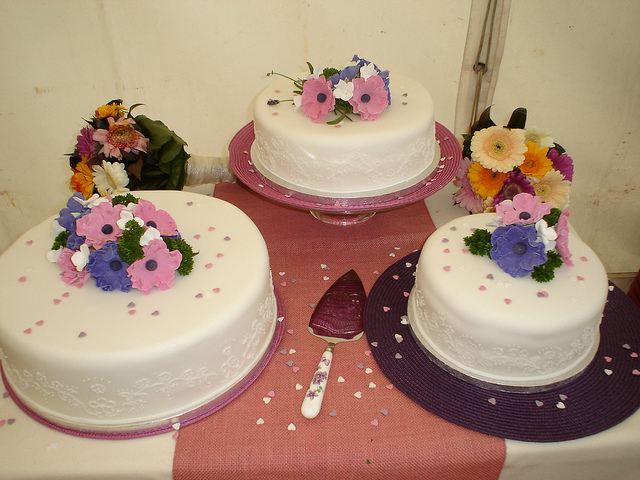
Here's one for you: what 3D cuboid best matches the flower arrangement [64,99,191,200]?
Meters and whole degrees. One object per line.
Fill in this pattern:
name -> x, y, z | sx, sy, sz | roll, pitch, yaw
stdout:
flower arrangement -> -1.058, -0.494, 3.429 | 0.637, 0.374, 0.644 | -25, 86, -10

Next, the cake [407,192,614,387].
cake -> 0.891, 0.124, 2.741 | 0.942, 0.594, 0.942 | 22, 41, 33

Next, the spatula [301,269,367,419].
spatula -> 0.065, 0.467, 2.758 | 0.268, 0.083, 0.899 | 7, 39, 13

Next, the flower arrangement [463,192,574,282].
flower arrangement -> 0.913, -0.007, 2.548 | 0.391, 0.158, 0.397 | 24, 75, 24

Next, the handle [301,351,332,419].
handle -> -0.004, 0.644, 2.589 | 0.064, 0.056, 0.344 | 21, 40, 2

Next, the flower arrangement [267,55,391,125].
flower arrangement -> 0.039, -0.880, 3.209 | 0.661, 0.355, 0.424 | -18, 42, -23

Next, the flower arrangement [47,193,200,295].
flower arrangement -> -0.881, 0.035, 2.554 | 0.279, 0.249, 0.406 | 23, 40, 28

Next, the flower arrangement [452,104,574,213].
flower arrangement -> 1.084, -0.420, 3.230 | 0.656, 0.221, 0.613 | -34, 88, 15
